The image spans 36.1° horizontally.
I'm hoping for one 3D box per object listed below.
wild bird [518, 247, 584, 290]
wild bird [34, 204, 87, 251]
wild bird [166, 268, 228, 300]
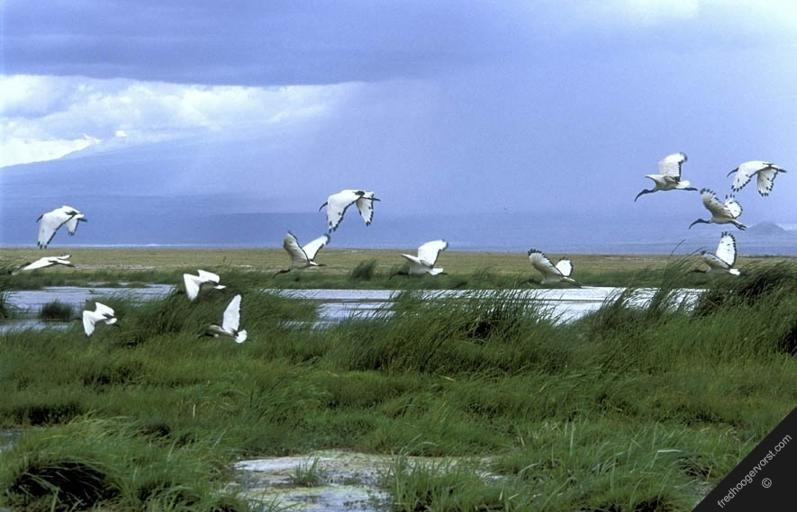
[{"bbox_3d":[3.135,0.261,25.207,1.030,0.793,1.725,5,3,7],"label":"wild bird"},{"bbox_3d":[-7.272,-0.634,26.113,0.927,0.893,1.141,5,3,-3],"label":"wild bird"},{"bbox_3d":[-4.139,0.648,25.249,0.761,0.350,1.034,-19,10,21],"label":"wild bird"}]
